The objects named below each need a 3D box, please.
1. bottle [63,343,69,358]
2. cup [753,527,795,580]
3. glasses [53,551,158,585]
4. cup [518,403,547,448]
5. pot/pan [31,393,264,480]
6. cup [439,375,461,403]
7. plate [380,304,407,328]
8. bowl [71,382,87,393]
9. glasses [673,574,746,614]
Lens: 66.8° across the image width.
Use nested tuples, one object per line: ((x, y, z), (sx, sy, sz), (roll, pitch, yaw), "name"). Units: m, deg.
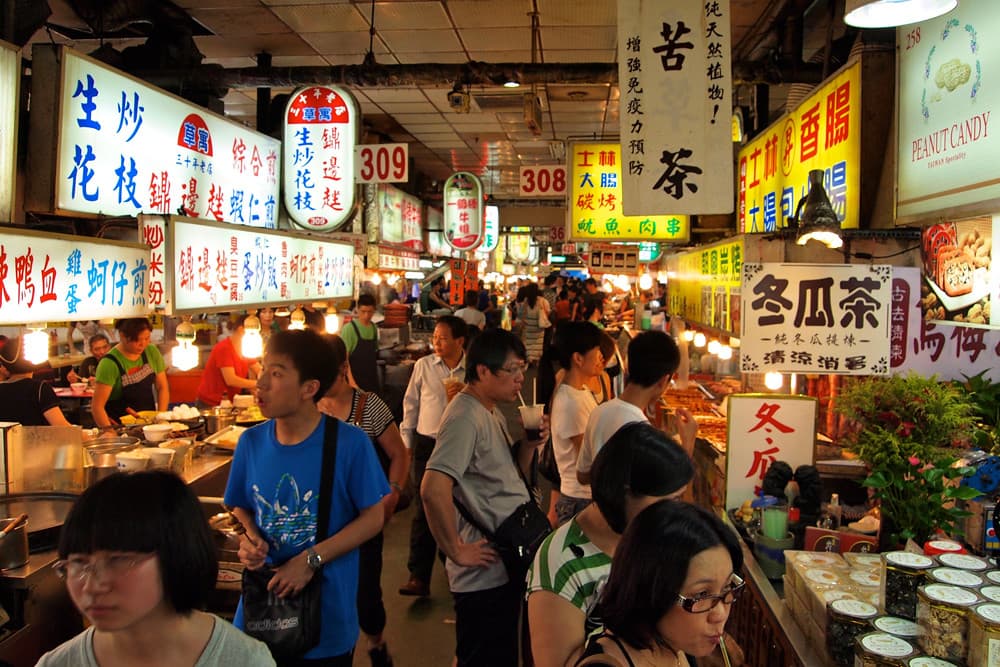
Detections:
((-5.800, 0.229, 10.147), (0.073, 0.134, 0.133), (1, -8, -23), "bottle")
((1.423, 1.162, 3.988), (0.191, 0.219, 0.212), (0, -3, -4), "cup")
((-1.420, 0.845, 2.746), (0.313, 0.079, 0.034), (3, 1, -2), "glasses")
((0.179, 0.511, 4.223), (0.140, 0.205, 0.158), (4, 1, 25), "cup")
((-2.440, 0.769, 5.153), (1.065, 0.348, 1.048), (3, 1, -1), "pot/pan")
((-0.363, 0.411, 5.673), (0.186, 0.232, 0.189), (-4, -2, 0), "cup")
((-1.628, -0.271, 11.820), (0.313, 0.272, 0.346), (0, -5, -6), "plate")
((-4.456, 0.577, 8.078), (0.122, 0.097, 0.141), (-2, -8, 30), "bowl")
((0.771, 0.942, 2.750), (0.276, 0.136, 0.059), (3, 1, -26), "glasses")
